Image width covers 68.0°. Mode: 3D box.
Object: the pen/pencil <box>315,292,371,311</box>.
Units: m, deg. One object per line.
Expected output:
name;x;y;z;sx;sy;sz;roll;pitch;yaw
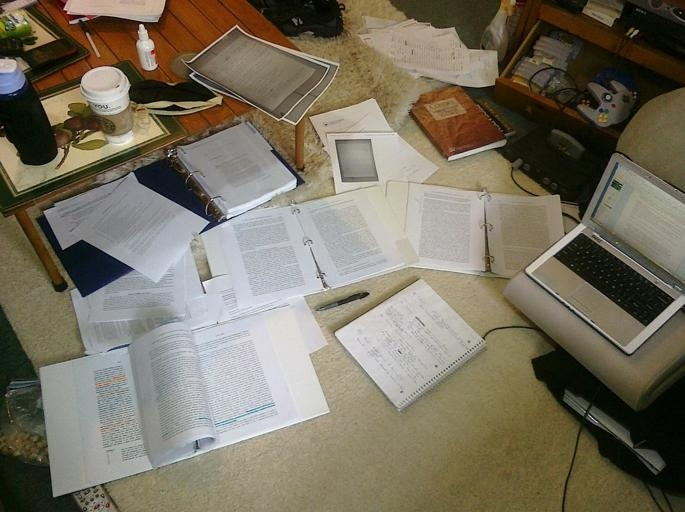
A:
pen/pencil;0.000;0.143;1.570;0.136;0.015;0.019;-19;78;-14

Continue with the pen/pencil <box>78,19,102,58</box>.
pen/pencil;-0.847;-0.727;1.703;0.025;0.016;0.179;-18;69;-24
